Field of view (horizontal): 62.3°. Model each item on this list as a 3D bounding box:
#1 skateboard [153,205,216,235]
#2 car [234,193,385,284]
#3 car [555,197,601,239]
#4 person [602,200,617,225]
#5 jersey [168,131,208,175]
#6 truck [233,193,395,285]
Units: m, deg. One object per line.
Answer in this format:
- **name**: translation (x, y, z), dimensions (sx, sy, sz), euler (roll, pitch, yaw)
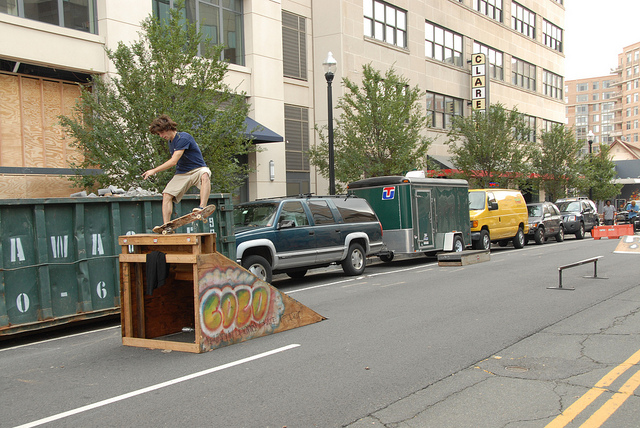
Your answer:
- **skateboard**: translation (-2.850, 0.112, 10.819), dimensions (1.033, 0.152, 0.271), euler (-21, -45, -3)
- **car**: translation (-0.708, 0.550, 15.930), dimensions (2.143, 1.998, 4.464), euler (-8, -8, 42)
- **car**: translation (15.335, 0.116, 31.554), dimensions (1.733, 1.526, 3.194), euler (-5, -6, 40)
- **person**: translation (17.453, -0.044, 31.927), dimensions (0.518, 1.458, 1.249), euler (1, 5, 31)
- **jersey**: translation (-2.633, -1.186, 10.505), dimensions (0.658, 0.867, 0.845), euler (-2, 0, -25)
- **truck**: translation (-0.717, 0.657, 15.902), dimensions (4.613, 1.969, 2.210), euler (3, -7, -45)
